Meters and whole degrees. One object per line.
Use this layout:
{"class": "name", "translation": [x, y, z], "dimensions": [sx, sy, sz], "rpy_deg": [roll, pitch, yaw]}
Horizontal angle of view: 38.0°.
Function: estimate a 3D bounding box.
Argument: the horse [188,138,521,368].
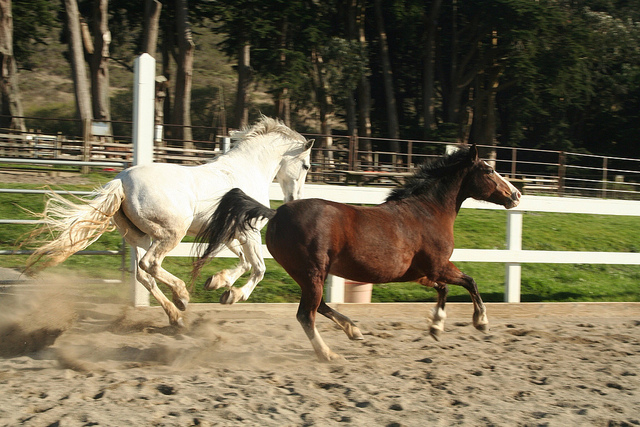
{"class": "horse", "translation": [0.574, 0.947, 18.800], "dimensions": [9.471, 4.005, 1.908], "rpy_deg": [-2, -6, -39]}
